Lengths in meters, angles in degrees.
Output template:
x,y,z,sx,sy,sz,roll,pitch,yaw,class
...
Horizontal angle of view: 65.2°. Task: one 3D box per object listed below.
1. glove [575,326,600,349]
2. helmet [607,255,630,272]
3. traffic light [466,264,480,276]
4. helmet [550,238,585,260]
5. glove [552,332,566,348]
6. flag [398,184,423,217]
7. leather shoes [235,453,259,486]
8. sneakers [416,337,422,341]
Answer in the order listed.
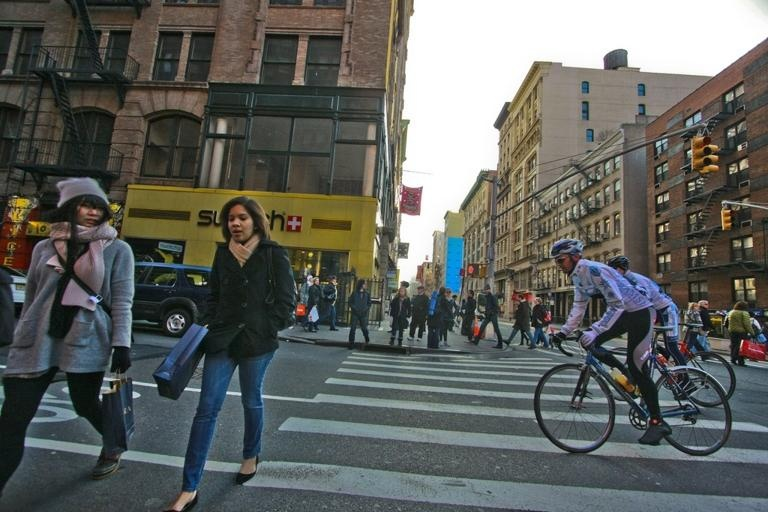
x,y,z,sx,sy,sz,roll,pitch,yaw,class
3.750,1.517,11.165,0.410,0.303,0.151,-23,31,16,glove
5.112,0.183,13.134,0.354,0.436,0.459,6,24,16,helmet
3.844,0.639,26.410,0.632,0.792,0.449,1,-5,-11,traffic light
3.442,-0.138,11.445,0.527,0.279,0.381,3,0,3,helmet
3.202,1.547,11.080,0.203,0.112,0.281,7,1,13,glove
1.548,-3.308,35.536,1.159,1.779,2.733,2,12,0,flag
-2.296,3.668,10.110,0.236,0.175,0.493,-3,4,21,leather shoes
1.268,3.164,22.544,0.165,0.152,0.205,0,-20,12,sneakers
